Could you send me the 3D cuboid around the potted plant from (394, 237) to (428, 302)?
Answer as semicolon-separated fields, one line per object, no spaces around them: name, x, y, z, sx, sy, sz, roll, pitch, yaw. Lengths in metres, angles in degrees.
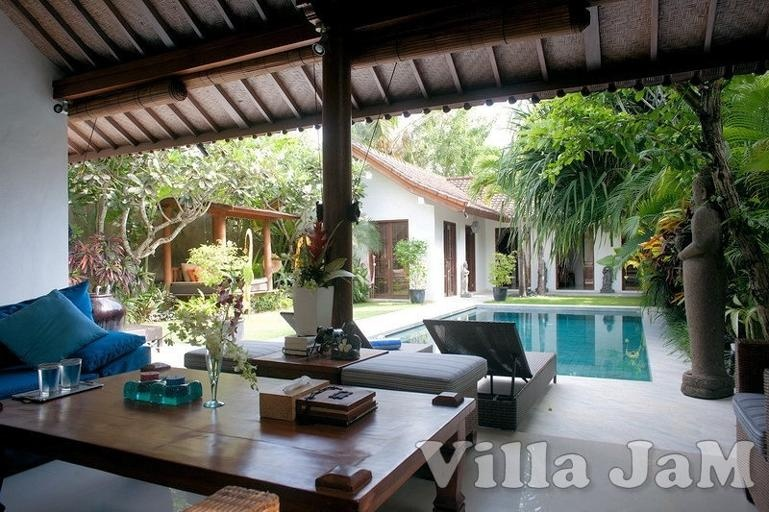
potted plant;0.723;0.364;13.269;0.806;1.627;0.639;-1;5;8

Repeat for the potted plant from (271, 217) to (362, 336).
potted plant;-0.595;0.192;4.691;0.618;1.060;0.762;-2;5;-10

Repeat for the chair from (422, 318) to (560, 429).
chair;1.097;0.985;5.061;0.742;0.781;1.384;0;9;26

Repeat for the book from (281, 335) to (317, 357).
book;-0.737;0.773;4.351;0.236;0.109;0.175;1;0;13
